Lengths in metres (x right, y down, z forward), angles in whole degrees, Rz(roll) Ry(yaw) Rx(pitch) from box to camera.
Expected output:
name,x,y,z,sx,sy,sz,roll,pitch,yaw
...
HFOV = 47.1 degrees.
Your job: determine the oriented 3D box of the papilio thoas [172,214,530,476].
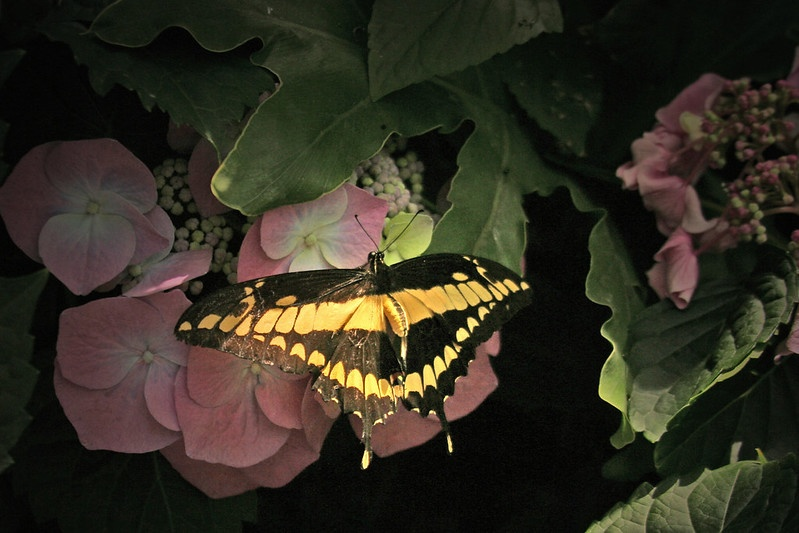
name,x,y,z,sx,sy,sz,roll,pitch,yaw
papilio thoas,-0.022,0.096,1.114,0.438,0.266,0.112,-6,9,18
